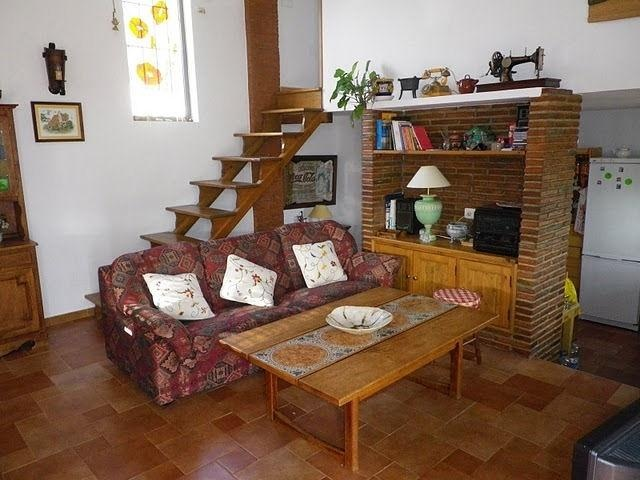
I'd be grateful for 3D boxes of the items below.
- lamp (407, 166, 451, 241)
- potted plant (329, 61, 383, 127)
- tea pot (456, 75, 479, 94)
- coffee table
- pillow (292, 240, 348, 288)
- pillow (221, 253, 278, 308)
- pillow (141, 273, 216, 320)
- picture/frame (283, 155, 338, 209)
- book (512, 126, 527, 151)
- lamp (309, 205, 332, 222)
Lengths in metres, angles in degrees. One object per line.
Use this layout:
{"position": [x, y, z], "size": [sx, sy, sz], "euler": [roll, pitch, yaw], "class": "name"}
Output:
{"position": [1.226, -0.419, 5.023], "size": [0.424, 0.851, 0.712], "euler": [2, 18, 16], "class": "lamp"}
{"position": [0.422, -1.790, 5.332], "size": [0.567, 0.665, 0.701], "euler": [-2, 17, 4], "class": "potted plant"}
{"position": [1.439, -1.540, 4.439], "size": [0.230, 0.187, 0.282], "euler": [6, 19, 28], "class": "tea pot"}
{"position": [0.355, 0.977, 3.502], "size": [1.266, 0.607, 1.866], "euler": [10, 15, 44], "class": "coffee table"}
{"position": [-0.016, 0.252, 4.737], "size": [0.561, 0.463, 0.142], "euler": [-13, -16, -32], "class": "pillow"}
{"position": [-0.692, 0.387, 4.323], "size": [0.567, 0.161, 0.543], "euler": [11, 48, -28], "class": "pillow"}
{"position": [-1.245, 0.489, 3.905], "size": [0.493, 0.383, 0.402], "euler": [-10, 19, -22], "class": "pillow"}
{"position": [-0.183, -0.850, 6.462], "size": [0.884, 0.562, 0.044], "euler": [-16, 27, -37], "class": "picture/frame"}
{"position": [1.898, -0.950, 4.205], "size": [0.107, 0.198, 0.266], "euler": [-5, 17, -4], "class": "book"}
{"position": [-0.007, -0.361, 6.106], "size": [0.224, 0.324, 0.215], "euler": [-15, 25, -34], "class": "lamp"}
